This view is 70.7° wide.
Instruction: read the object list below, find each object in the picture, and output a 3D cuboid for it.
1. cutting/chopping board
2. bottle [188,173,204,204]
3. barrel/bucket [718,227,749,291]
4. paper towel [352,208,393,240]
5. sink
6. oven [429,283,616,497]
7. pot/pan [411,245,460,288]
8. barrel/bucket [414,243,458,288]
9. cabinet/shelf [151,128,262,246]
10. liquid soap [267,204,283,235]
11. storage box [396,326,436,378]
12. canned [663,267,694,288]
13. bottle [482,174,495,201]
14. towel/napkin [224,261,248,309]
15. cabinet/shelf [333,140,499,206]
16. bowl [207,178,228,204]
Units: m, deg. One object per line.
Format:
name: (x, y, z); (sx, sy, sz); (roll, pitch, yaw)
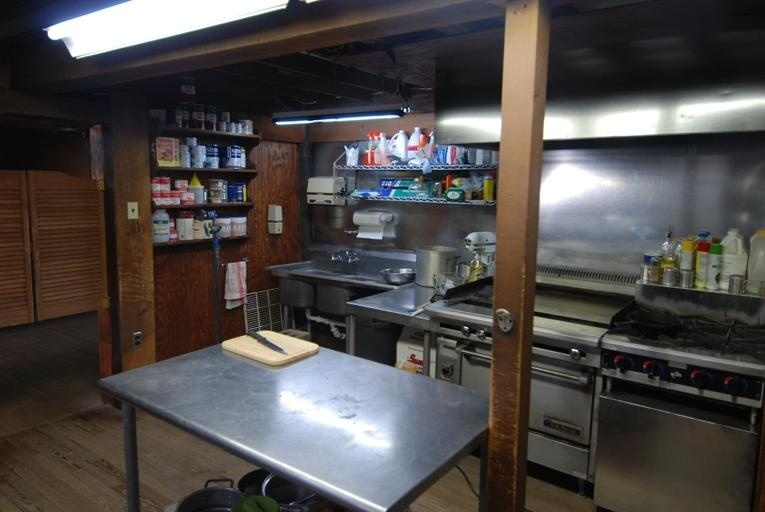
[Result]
cutting/chopping board: (-0.706, 0.563, 3.339); (0.383, 0.037, 0.269); (10, 11, 36)
bottle: (-1.855, -0.682, 5.403); (0.149, 0.283, 0.258); (-2, 11, -19)
barrel/bucket: (2.412, 0.024, 3.709); (0.165, 0.404, 0.209); (6, 12, 20)
paper towel: (-0.071, -0.357, 5.841); (0.491, 0.293, 0.322); (4, 14, 31)
sink: (-0.573, 0.383, 6.004); (1.533, 0.444, 0.487); (8, 12, 33)
oven: (1.208, 0.920, 4.246); (1.497, 1.233, 1.167); (7, 11, 35)
pot/pan: (0.422, 0.083, 4.674); (0.401, 0.263, 0.303); (6, 7, 34)
barrel/bucket: (0.425, 0.082, 4.687); (0.395, 0.259, 0.303); (8, 8, 40)
cabinet/shelf: (-1.793, -0.711, 5.374); (0.413, 1.250, 1.371); (1, 3, 30)
liquid soap: (-1.208, -0.424, 6.229); (0.147, 0.364, 0.244); (6, 12, 21)
storage box: (0.262, 0.779, 4.379); (0.380, 0.337, 0.346); (6, -3, -29)
canned: (2.086, 0.156, 3.810); (0.193, 0.129, 0.113); (-2, -2, 45)
bottle: (0.978, -0.633, 4.950); (0.101, 0.218, 0.095); (2, 11, 0)
towel/napkin: (-1.574, 0.320, 5.893); (0.106, 0.524, 0.326); (11, 14, 37)
cabinet/shelf: (0.268, -0.921, 5.700); (0.357, 0.689, 2.126); (1, 3, -43)
bowl: (-1.680, -0.662, 5.511); (0.246, 0.216, 0.256); (1, 7, 0)
